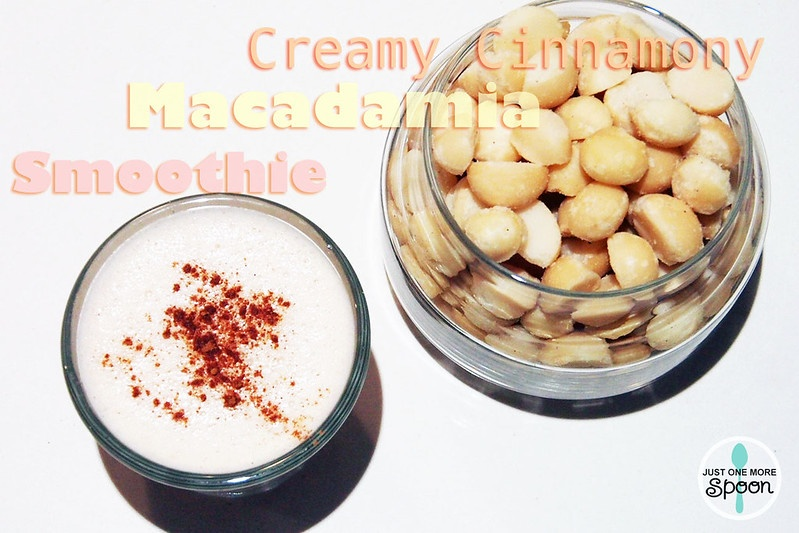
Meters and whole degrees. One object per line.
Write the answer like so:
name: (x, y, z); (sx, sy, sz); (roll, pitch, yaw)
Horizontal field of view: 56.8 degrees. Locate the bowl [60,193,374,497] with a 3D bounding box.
bowl: (-0.267, 0.113, 1.077); (0.438, 0.274, 0.361); (18, 44, 18)
